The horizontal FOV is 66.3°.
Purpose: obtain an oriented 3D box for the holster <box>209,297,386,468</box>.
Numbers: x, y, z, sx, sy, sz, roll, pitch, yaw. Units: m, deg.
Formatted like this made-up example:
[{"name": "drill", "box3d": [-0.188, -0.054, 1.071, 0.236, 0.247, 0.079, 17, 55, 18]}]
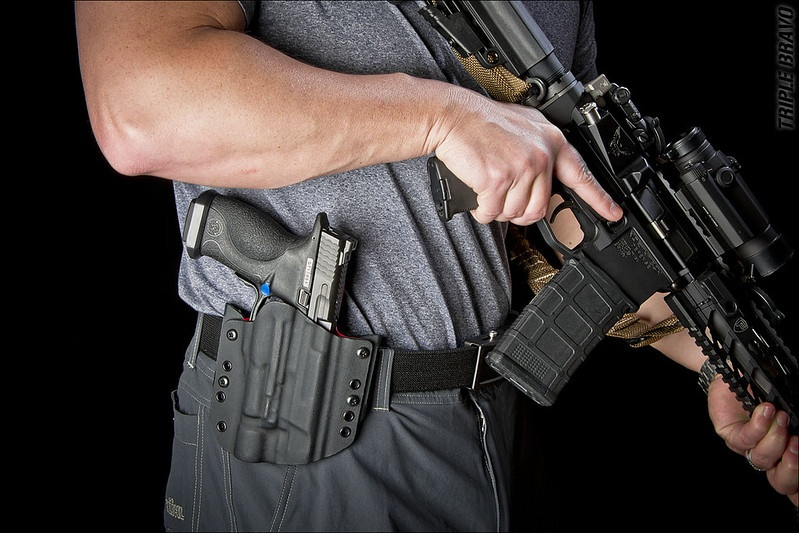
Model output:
[{"name": "holster", "box3d": [-0.317, 0.385, 2.021, 0.474, 0.462, 0.057, 12, -2, 4]}]
